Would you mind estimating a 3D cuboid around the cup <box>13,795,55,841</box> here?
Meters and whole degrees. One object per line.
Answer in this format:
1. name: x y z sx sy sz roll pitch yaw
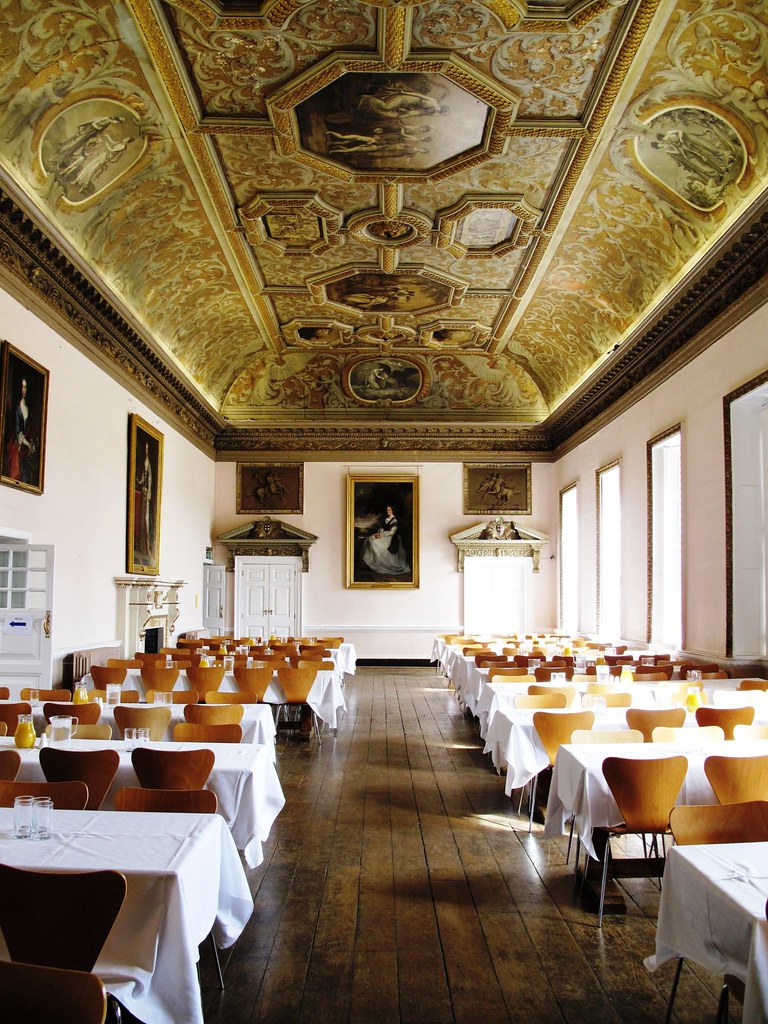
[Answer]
1. cup: -1.332 1.156 2.529 0.166 0.187 0.104 3 -10 -25
